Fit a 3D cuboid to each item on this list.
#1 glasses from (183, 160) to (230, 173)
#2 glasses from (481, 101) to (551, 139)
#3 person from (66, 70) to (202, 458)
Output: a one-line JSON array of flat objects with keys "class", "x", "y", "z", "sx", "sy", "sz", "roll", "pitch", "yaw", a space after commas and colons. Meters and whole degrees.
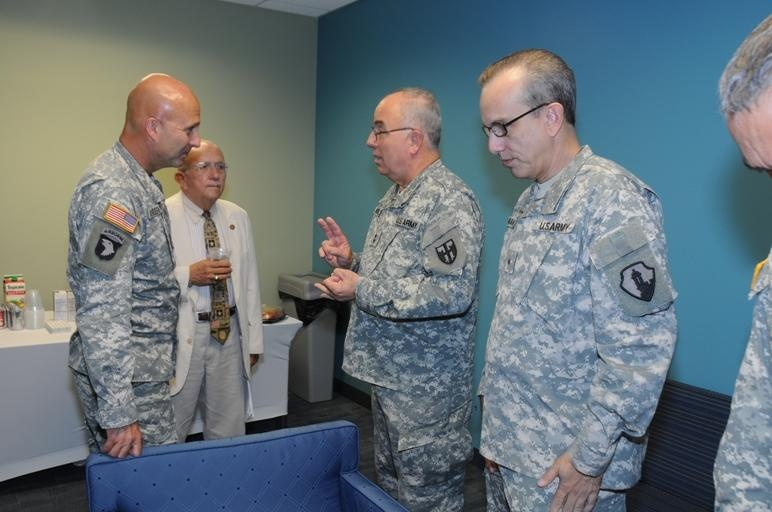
[{"class": "glasses", "x": -1.170, "y": -0.579, "z": 3.653, "sx": 0.125, "sy": 0.040, "sz": 0.128, "roll": -2, "pitch": -11, "yaw": -35}, {"class": "glasses", "x": 0.556, "y": -0.589, "z": 2.475, "sx": 0.175, "sy": 0.047, "sz": 0.170, "roll": -27, "pitch": 8, "yaw": -12}, {"class": "person", "x": -1.172, "y": -0.003, "z": 2.716, "sx": 0.586, "sy": 1.838, "sz": 0.380, "roll": -1, "pitch": -2, "yaw": -31}]
